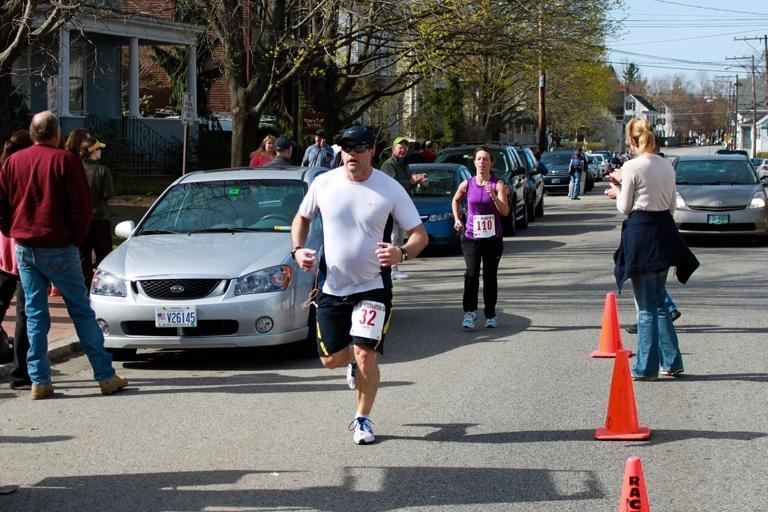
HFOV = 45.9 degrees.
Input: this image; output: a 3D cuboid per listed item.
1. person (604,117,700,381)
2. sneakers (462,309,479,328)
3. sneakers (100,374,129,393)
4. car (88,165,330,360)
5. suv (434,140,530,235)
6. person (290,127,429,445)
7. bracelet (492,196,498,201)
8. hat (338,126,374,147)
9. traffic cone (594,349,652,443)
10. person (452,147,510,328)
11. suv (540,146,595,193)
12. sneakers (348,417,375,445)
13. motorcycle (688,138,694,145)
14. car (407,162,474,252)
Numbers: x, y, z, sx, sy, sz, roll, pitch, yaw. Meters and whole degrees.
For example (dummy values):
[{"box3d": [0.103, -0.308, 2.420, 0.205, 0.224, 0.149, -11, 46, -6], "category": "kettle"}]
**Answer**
[{"box3d": [2.844, -0.092, 9.667, 0.759, 2.714, 0.722, -5, 9, -29], "category": "person"}, {"box3d": [1.138, 0.822, 11.914, 0.114, 0.133, 0.304, -1, 9, 15], "category": "sneakers"}, {"box3d": [-2.806, 1.322, 9.432, 0.124, 0.163, 0.370, 5, 12, 22], "category": "sneakers"}, {"box3d": [-1.819, -0.053, 11.215, 1.669, 1.381, 3.006, 0, 2, 10], "category": "car"}, {"box3d": [2.679, -1.830, 22.241, 1.516, 1.411, 3.062, 1, 4, 15], "category": "suv"}, {"box3d": [-0.217, 0.246, 8.092, 1.185, 2.782, 0.566, -1, 8, 2], "category": "person"}, {"box3d": [1.443, -0.744, 11.679, 0.058, 0.049, 0.024, 4, 10, 26], "category": "bracelet"}, {"box3d": [-0.247, -1.053, 7.956, 0.301, 0.175, 0.300, 0, 10, 5], "category": "hat"}, {"box3d": [2.157, 1.273, 8.133, 0.525, 0.696, 0.548, -3, 6, 19], "category": "traffic cone"}, {"box3d": [1.274, -0.261, 11.974, 0.683, 2.345, 0.759, 0, 8, 3], "category": "person"}, {"box3d": [8.076, -3.664, 40.217, 1.981, 1.845, 4.439, 0, 4, 15], "category": "suv"}, {"box3d": [-0.188, 1.552, 8.081, 0.155, 0.129, 0.280, 0, 2, -3], "category": "sneakers"}, {"box3d": [66.201, -24.601, 194.027, 1.123, 1.714, 3.938, -1, 1, 15], "category": "motorcycle"}, {"box3d": [1.209, -1.244, 19.645, 1.415, 1.551, 3.383, 2, 17, 20], "category": "car"}]
